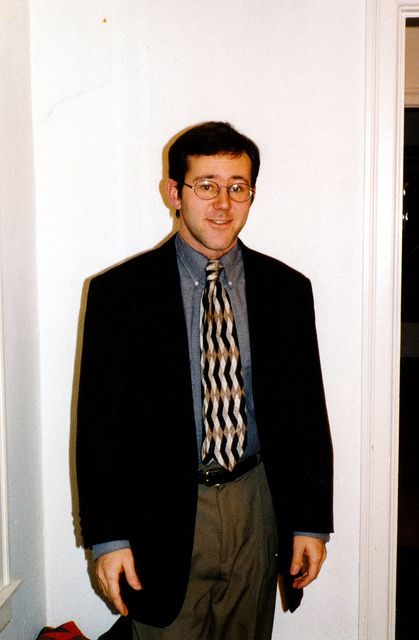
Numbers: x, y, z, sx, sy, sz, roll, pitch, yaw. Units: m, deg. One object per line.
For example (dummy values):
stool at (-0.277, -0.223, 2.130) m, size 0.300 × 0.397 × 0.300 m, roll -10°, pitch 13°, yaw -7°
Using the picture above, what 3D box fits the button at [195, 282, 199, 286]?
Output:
button at (-0.032, -0.089, 1.631) m, size 0.007 × 0.009 × 0.002 m, roll 0°, pitch -5°, yaw 9°

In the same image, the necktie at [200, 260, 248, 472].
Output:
necktie at (0.030, 0.106, 1.580) m, size 0.101 × 0.491 × 0.051 m, roll 0°, pitch -3°, yaw 1°

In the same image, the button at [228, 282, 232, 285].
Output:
button at (0.049, -0.091, 1.648) m, size 0.006 × 0.008 × 0.001 m, roll 3°, pitch -7°, yaw -21°
